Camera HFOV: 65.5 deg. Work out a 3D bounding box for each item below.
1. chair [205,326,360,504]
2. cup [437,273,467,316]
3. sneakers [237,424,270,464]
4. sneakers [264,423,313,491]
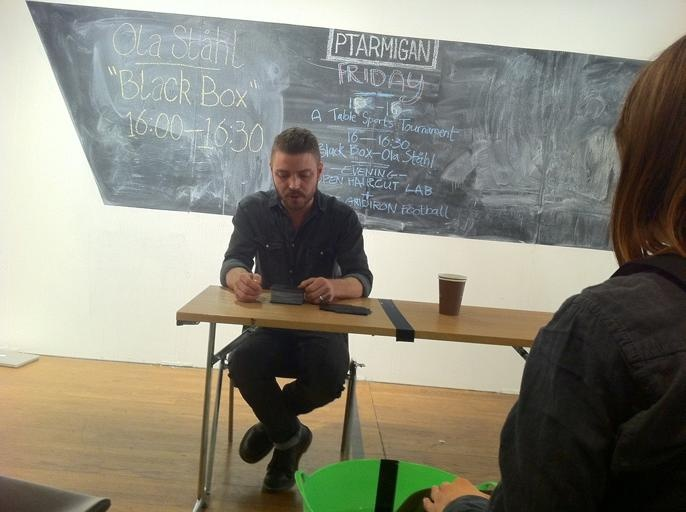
[{"bbox_3d":[-0.217,0.601,2.365,0.553,0.851,0.648,5,0,12],"label":"chair"},{"bbox_3d":[0.417,0.146,2.062,0.135,0.164,0.142,2,3,0],"label":"cup"},{"bbox_3d":[-0.349,0.782,2.268,0.084,0.101,0.196,-13,23,29],"label":"sneakers"},{"bbox_3d":[-0.228,0.801,2.132,0.115,0.320,0.140,5,-27,31],"label":"sneakers"}]
